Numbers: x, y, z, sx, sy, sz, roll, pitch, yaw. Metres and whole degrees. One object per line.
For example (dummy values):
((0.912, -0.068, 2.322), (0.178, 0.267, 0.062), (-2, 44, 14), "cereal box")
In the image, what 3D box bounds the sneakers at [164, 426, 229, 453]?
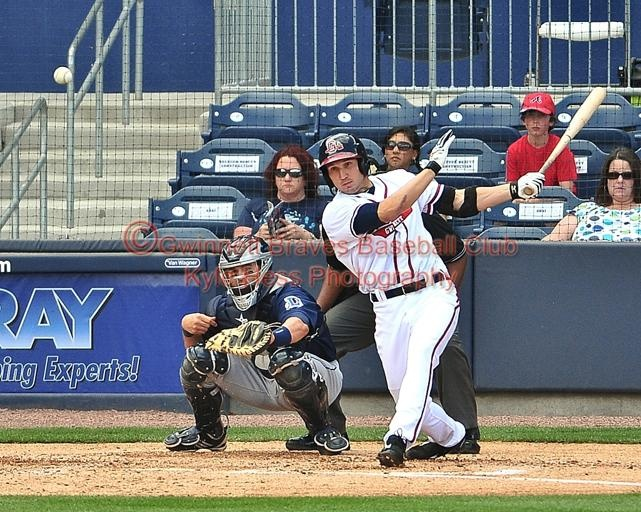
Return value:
((-0.796, 1.178, 9.347), (0.380, 0.155, 0.169), (5, 0, -6), "sneakers")

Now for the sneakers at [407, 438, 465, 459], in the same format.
((0.780, 1.221, 9.252), (0.426, 0.159, 0.133), (5, -5, -8), "sneakers")

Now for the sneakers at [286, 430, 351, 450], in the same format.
((-0.029, 1.205, 9.433), (0.470, 0.167, 0.151), (3, -3, 3), "sneakers")

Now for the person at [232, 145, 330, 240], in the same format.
((-0.271, -0.448, 10.692), (0.842, 0.705, 0.482), (3, 4, 9), "person")

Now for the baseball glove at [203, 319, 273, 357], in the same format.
((-0.506, 0.514, 9.071), (0.424, 0.219, 0.226), (-1, 7, -5), "baseball glove")

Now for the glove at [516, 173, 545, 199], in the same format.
((1.320, -0.435, 8.969), (0.173, 0.158, 0.106), (-1, 7, -4), "glove")

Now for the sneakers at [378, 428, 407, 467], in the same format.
((0.450, 1.176, 8.803), (0.181, 0.225, 0.167), (1, 7, 9), "sneakers")

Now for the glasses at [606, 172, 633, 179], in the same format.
((2.190, -0.579, 10.435), (0.181, 0.056, 0.054), (1, 7, 14), "glasses")

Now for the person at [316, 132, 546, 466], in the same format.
((0.594, 0.230, 9.214), (0.993, 2.053, 0.906), (-5, 8, -31), "person")
